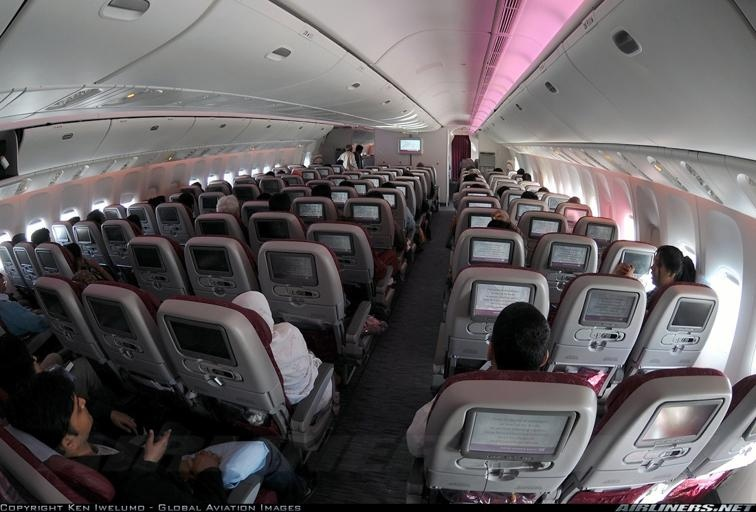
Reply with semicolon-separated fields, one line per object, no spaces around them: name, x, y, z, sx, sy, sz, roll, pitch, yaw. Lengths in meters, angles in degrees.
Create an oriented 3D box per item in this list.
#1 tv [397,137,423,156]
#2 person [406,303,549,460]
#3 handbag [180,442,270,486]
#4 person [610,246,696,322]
tv;1.294;-4.282;17.858;0.837;0.499;0.104;2;13;9
person;0.691;0.839;3.071;0.798;1.063;0.410;3;12;-3
handbag;-1.055;1.485;3.330;0.485;0.246;0.311;5;12;8
person;2.655;0.264;4.520;0.547;0.662;0.717;-1;23;19
